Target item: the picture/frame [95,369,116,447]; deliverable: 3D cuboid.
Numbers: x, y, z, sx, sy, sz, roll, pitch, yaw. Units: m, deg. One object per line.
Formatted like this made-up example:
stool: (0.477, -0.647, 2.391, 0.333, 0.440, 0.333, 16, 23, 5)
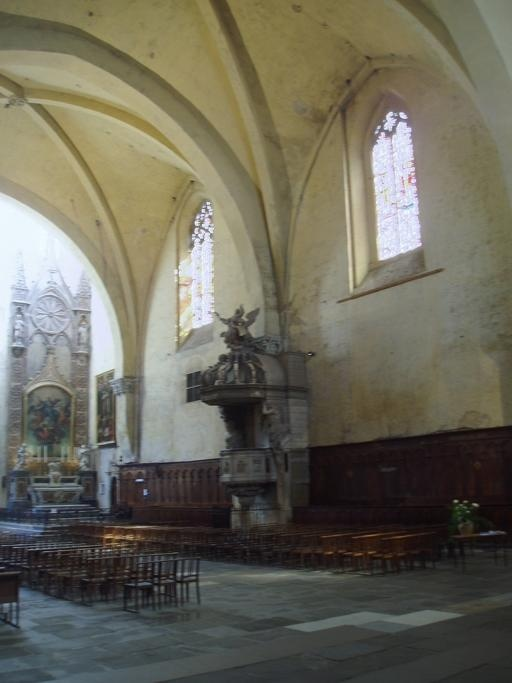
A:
picture/frame: (-6.323, 2.810, 28.498, 0.548, 3.122, 2.215, 0, -11, -23)
